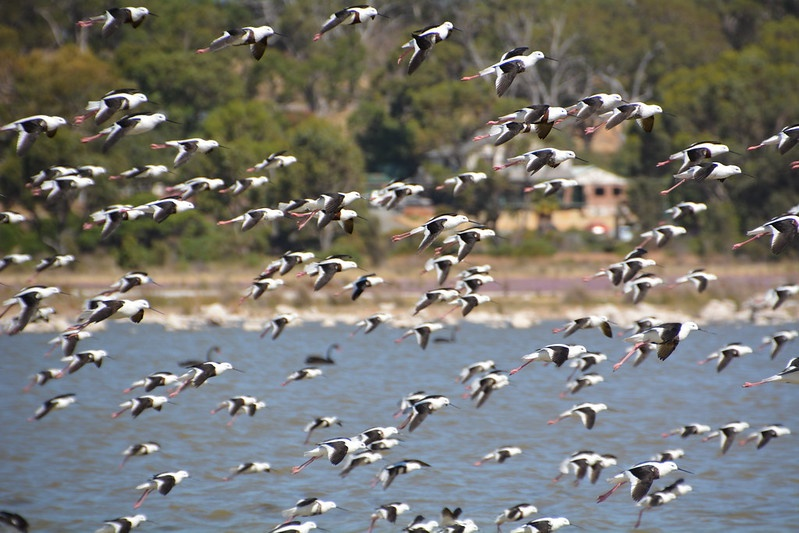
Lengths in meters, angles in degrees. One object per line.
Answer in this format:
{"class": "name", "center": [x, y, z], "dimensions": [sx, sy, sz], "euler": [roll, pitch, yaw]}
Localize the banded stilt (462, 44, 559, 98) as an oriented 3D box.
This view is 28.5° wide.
{"class": "banded stilt", "center": [3.813, -7.617, 60.761], "dimensions": [3.605, 3.462, 1.322], "euler": [1, 79, 3]}
